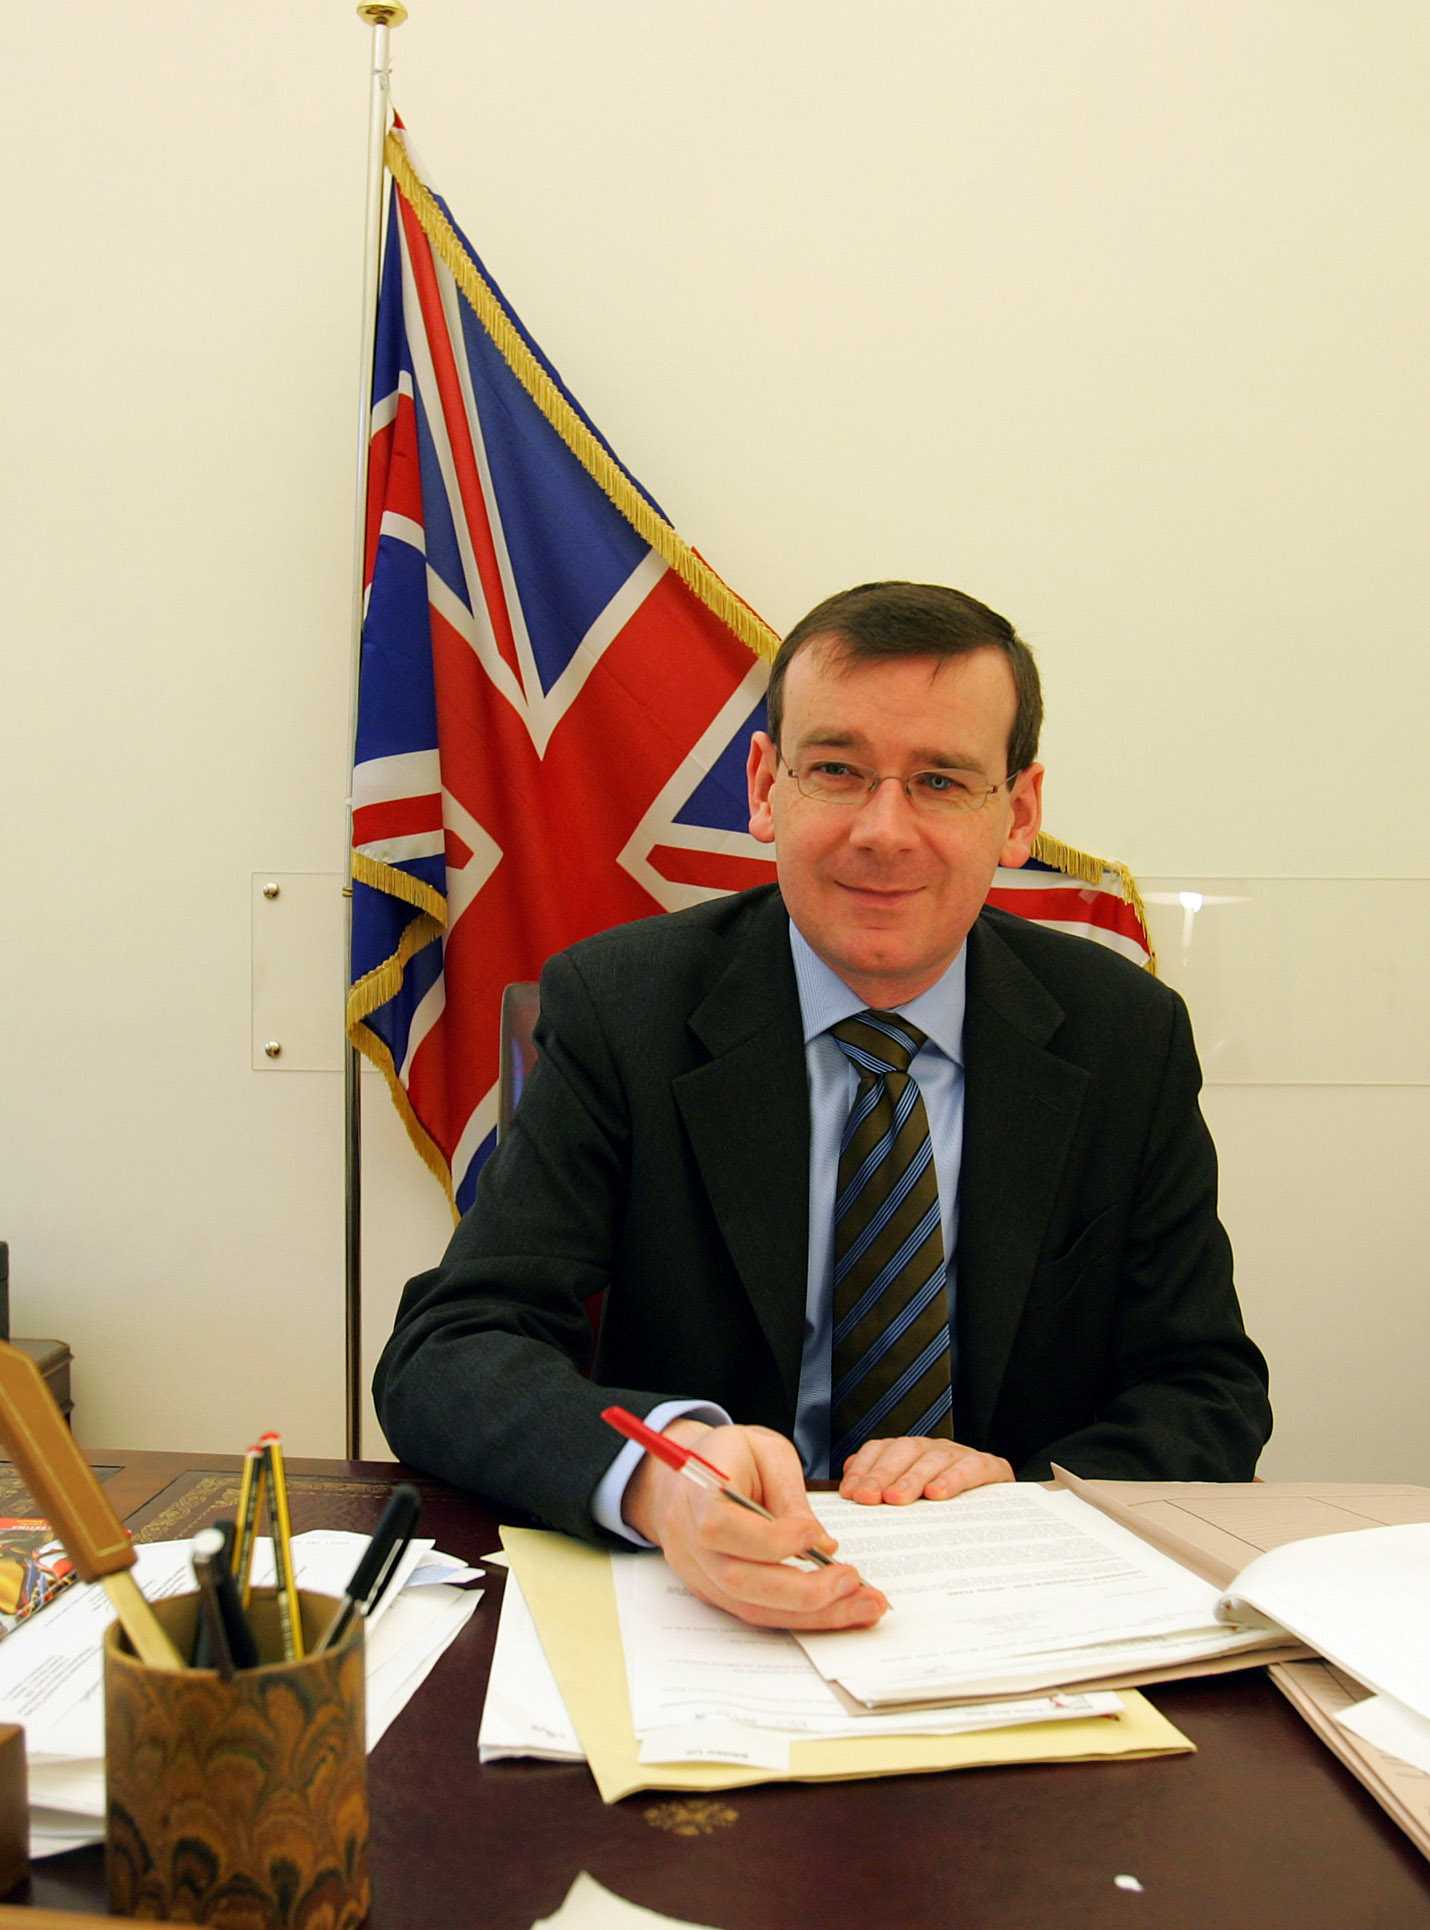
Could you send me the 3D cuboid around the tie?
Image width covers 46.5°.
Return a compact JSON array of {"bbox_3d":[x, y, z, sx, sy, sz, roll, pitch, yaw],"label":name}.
[{"bbox_3d":[0.145,0.221,1.366,0.099,0.350,0.149,1,4,3],"label":"tie"}]
